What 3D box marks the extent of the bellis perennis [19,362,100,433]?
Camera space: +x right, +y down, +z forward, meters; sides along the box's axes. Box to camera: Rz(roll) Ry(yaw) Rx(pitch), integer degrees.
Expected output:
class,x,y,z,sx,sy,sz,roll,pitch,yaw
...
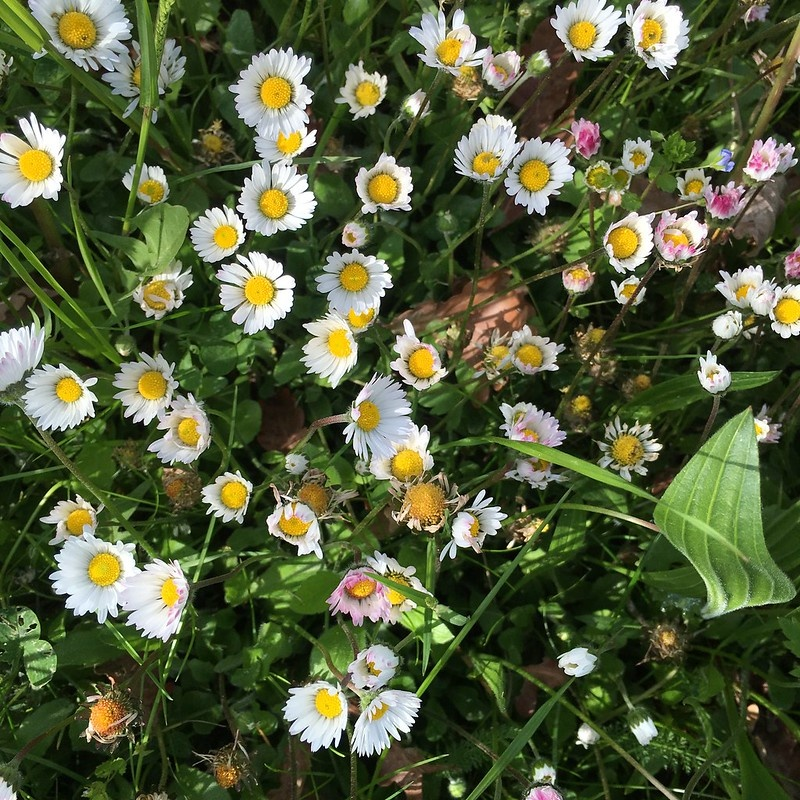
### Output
class,x,y,z,sx,sy,sz,roll,pitch,yaw
bellis perennis,-0.912,-0.003,2.023,0.184,0.073,0.176,-37,92,-6

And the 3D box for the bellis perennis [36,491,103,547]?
class,x,y,z,sx,sy,sz,roll,pitch,yaw
bellis perennis,-0.951,0.336,2.229,0.179,0.077,0.159,38,101,16
